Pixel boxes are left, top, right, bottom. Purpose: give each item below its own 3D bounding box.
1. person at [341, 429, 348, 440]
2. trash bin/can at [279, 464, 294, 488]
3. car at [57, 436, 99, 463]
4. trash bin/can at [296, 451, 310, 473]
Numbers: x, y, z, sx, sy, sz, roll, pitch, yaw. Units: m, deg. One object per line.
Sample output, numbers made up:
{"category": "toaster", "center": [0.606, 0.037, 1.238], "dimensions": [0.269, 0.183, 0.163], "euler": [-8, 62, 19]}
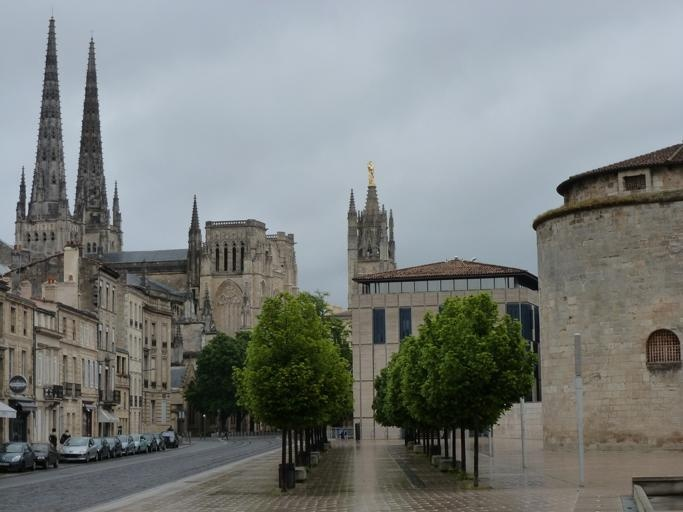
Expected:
{"category": "person", "center": [0.297, 15.149, 123.682], "dimensions": [0.513, 0.884, 0.498], "euler": [2, -7, -10]}
{"category": "trash bin/can", "center": [-2.448, 9.776, 64.781], "dimensions": [0.520, 1.247, 1.158], "euler": [-5, -13, 9]}
{"category": "car", "center": [-15.544, 11.375, 86.022], "dimensions": [1.653, 1.557, 2.269], "euler": [-8, -14, 21]}
{"category": "trash bin/can", "center": [-1.916, 10.307, 73.963], "dimensions": [0.794, 1.017, 0.769], "euler": [-1, -3, 2]}
